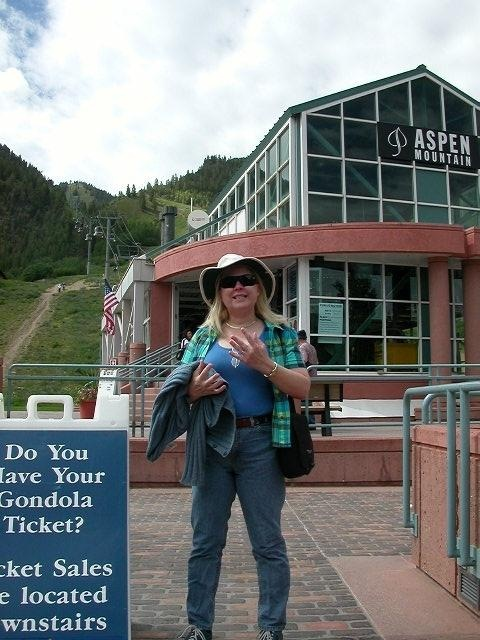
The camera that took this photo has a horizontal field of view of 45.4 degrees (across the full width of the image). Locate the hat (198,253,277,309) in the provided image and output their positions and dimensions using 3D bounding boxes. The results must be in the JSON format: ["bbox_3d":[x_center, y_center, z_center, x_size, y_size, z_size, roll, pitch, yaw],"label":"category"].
[{"bbox_3d":[-0.043,-0.232,2.883,0.246,0.123,0.326,-5,26,-2],"label":"hat"}]

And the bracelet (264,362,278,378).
[{"bbox_3d":[0.130,0.215,2.411,0.026,0.060,0.056,40,33,28],"label":"bracelet"}]

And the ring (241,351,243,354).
[{"bbox_3d":[0.009,0.133,2.343,0.013,0.013,0.003,-2,3,-30],"label":"ring"}]
